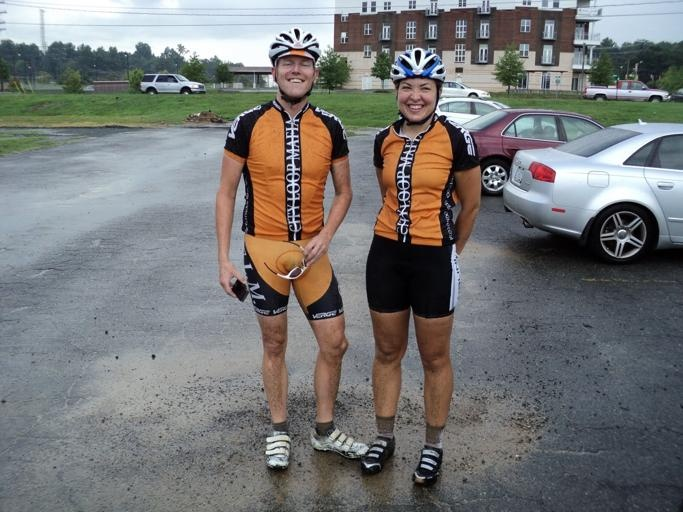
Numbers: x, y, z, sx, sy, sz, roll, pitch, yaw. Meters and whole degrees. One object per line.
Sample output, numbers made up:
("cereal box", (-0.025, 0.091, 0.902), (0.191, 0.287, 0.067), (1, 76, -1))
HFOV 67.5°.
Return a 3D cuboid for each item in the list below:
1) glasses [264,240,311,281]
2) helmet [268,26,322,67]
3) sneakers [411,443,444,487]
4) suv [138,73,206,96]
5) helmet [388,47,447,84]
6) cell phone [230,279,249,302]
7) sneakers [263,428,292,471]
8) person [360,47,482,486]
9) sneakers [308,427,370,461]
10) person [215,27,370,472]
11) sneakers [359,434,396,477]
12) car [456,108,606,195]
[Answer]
("glasses", (-0.337, 0.045, 3.093), (0.261, 0.242, 0.093), (-1, 16, -1))
("helmet", (-0.278, -1.236, 3.025), (0.294, 0.209, 0.171), (-3, 17, -8))
("sneakers", (0.511, 1.246, 3.008), (0.095, 0.132, 0.285), (1, -2, 16))
("suv", (-16.504, -16.683, 49.295), (5.362, 1.744, 1.228), (0, 16, 2))
("helmet", (0.444, -1.108, 2.963), (0.292, 0.200, 0.279), (0, 17, 1))
("cell phone", (-0.612, 0.211, 3.075), (0.114, 0.119, 0.028), (38, 18, 13))
("sneakers", (-0.385, 1.193, 3.190), (0.146, 0.142, 0.324), (3, 12, 2))
("person", (0.455, 0.059, 3.012), (0.632, 2.432, 0.747), (4, 16, 14))
("sneakers", (-0.013, 1.184, 3.288), (0.392, 0.161, 0.143), (8, 20, 17))
("person", (-0.328, -0.031, 3.100), (0.844, 2.554, 0.693), (-2, 16, -7))
("sneakers", (0.216, 1.223, 3.124), (0.100, 0.107, 0.284), (2, 8, 24))
("car", (4.076, -2.345, 12.340), (4.495, 1.677, 2.118), (-5, 12, -6))
